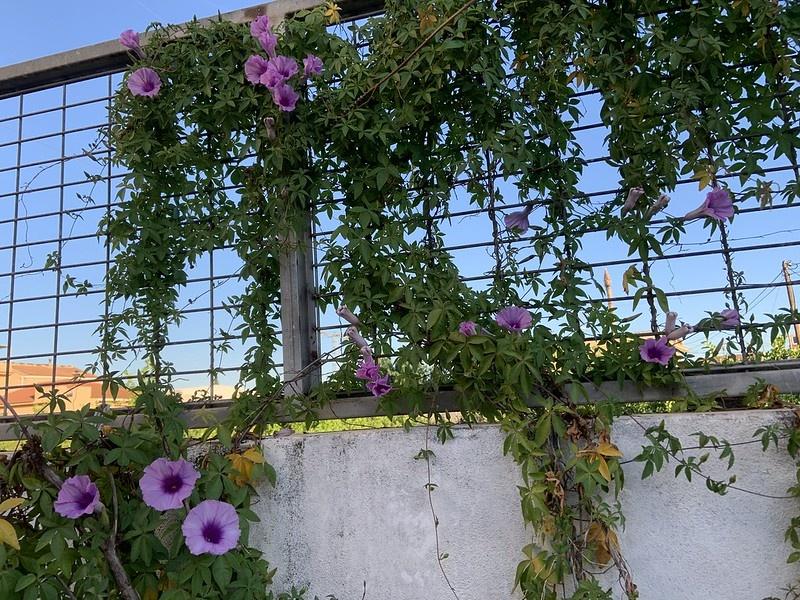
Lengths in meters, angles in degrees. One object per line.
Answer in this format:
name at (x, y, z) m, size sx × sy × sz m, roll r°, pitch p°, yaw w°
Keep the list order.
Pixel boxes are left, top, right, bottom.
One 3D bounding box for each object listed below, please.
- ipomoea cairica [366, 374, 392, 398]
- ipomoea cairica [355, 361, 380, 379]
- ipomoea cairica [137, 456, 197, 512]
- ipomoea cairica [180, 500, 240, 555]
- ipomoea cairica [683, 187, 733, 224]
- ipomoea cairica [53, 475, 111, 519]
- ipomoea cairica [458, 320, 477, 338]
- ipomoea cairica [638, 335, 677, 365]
ipomoea cairica at (-0.083, 0.366, 3.355) m, size 0.114 × 0.085 × 0.076 m, roll -2°, pitch -11°, yaw -21°
ipomoea cairica at (-0.136, 0.306, 3.401) m, size 0.101 × 0.095 × 0.176 m, roll -6°, pitch -11°, yaw -2°
ipomoea cairica at (-0.916, 0.737, 3.161) m, size 0.231 × 0.139 × 0.250 m, roll 8°, pitch 13°, yaw 37°
ipomoea cairica at (-0.750, 0.931, 3.142) m, size 0.203 × 0.243 × 0.126 m, roll 6°, pitch -55°, yaw -26°
ipomoea cairica at (1.309, -0.390, 3.329) m, size 0.171 × 0.115 × 0.106 m, roll -15°, pitch 20°, yaw 40°
ipomoea cairica at (-1.272, 0.786, 3.099) m, size 0.149 × 0.185 × 0.093 m, roll 17°, pitch -33°, yaw -26°
ipomoea cairica at (0.286, 0.122, 3.293) m, size 0.077 × 0.075 × 0.075 m, roll -7°, pitch -10°, yaw 4°
ipomoea cairica at (1.066, 0.213, 3.246) m, size 0.113 × 0.127 × 0.063 m, roll -23°, pitch -16°, yaw 7°
